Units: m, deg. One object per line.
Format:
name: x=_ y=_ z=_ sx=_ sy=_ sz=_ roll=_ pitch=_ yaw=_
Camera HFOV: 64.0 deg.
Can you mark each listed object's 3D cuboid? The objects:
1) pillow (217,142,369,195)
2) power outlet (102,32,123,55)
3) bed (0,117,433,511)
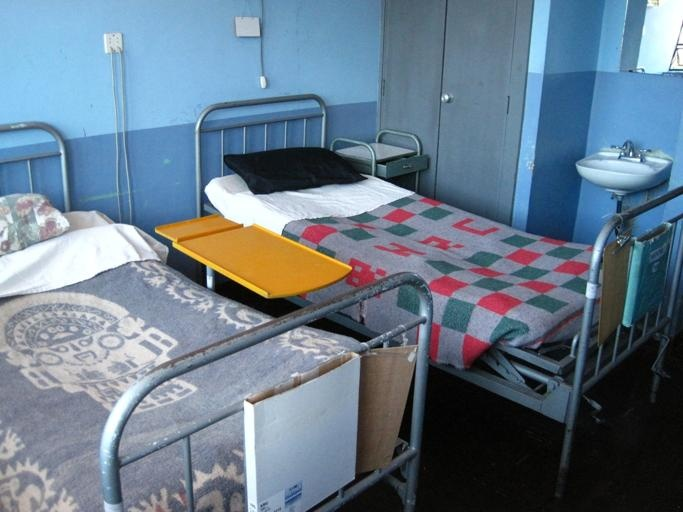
pillow: x=-0.328 y=-0.616 z=3.835 sx=0.803 sy=0.144 sz=0.455 roll=-12 pitch=40 yaw=-34
power outlet: x=-1.331 y=-1.254 z=3.215 sx=0.037 sy=0.125 sz=0.119 roll=12 pitch=25 yaw=32
bed: x=-0.557 y=0.287 z=2.075 sx=0.821 sy=0.774 sz=1.544 roll=-20 pitch=32 yaw=-38
